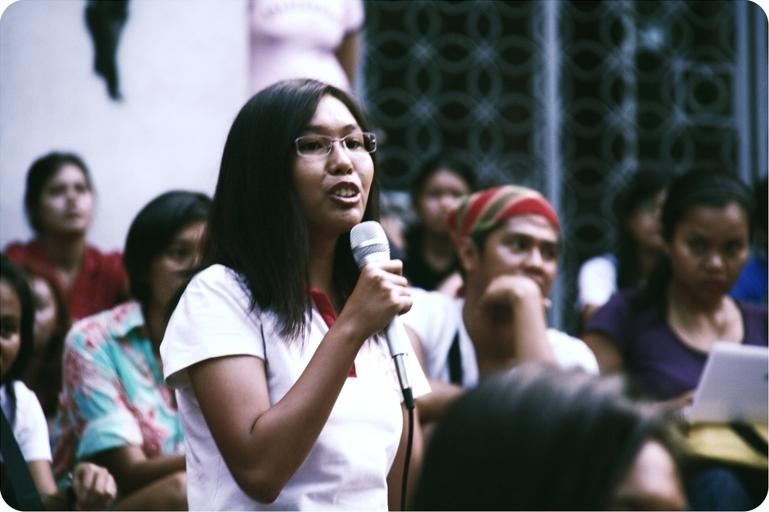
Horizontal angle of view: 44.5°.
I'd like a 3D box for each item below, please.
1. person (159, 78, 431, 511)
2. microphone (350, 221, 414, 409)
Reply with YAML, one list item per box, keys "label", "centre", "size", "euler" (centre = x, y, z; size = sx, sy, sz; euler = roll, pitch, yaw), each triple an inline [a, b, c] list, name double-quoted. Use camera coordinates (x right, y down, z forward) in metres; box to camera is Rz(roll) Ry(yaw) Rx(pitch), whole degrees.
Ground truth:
- label: "person"
  centre: [-0.272, 0.113, 2.838]
  size: [0.793, 1.302, 0.436]
  euler: [-1, 5, -15]
- label: "microphone"
  centre: [0.009, 0.121, 2.886]
  size: [0.140, 0.651, 0.107]
  euler: [-8, -22, -22]
